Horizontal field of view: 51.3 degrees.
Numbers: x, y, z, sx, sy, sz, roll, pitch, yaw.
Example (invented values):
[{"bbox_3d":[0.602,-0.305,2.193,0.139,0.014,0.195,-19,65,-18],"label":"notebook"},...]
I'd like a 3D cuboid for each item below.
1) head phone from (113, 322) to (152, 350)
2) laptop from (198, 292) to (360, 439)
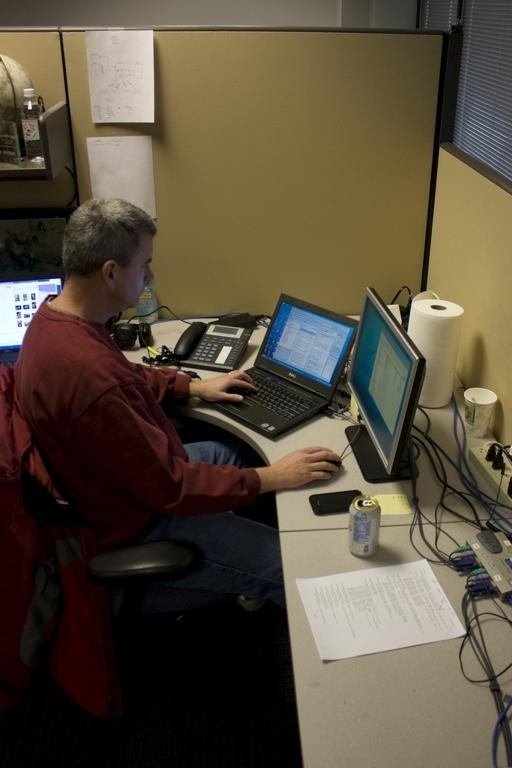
[{"bbox_3d":[-0.429,-0.168,1.855,0.104,0.083,0.110,-2,16,-11],"label":"head phone"},{"bbox_3d":[0.110,-0.004,1.653,0.300,0.441,0.398,5,18,-43],"label":"laptop"}]
